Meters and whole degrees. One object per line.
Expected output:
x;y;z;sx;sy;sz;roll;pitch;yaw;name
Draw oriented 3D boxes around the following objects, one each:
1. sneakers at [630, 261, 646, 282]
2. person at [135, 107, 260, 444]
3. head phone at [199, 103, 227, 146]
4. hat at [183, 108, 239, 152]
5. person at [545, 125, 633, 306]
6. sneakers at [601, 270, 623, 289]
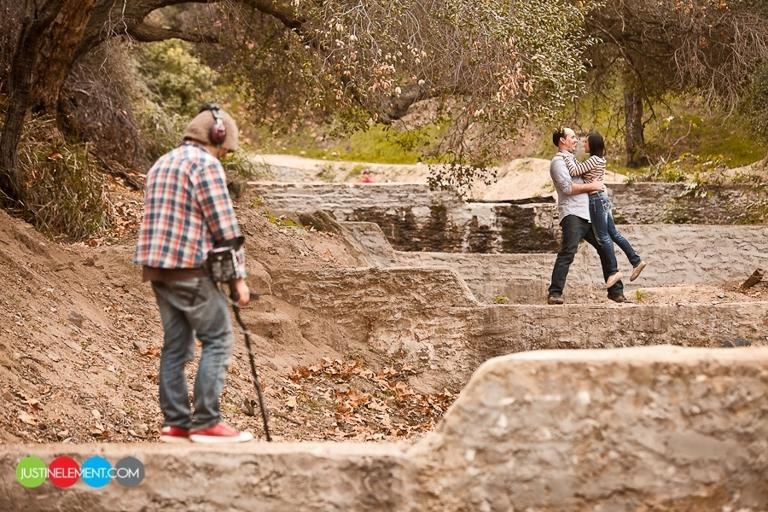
3.798;0.222;18.598;0.120;0.305;0.107;31;27;6;sneakers
-2.197;0.237;13.892;1.208;3.660;1.167;-6;14;-14;person
-2.020;-1.500;14.197;0.164;0.440;0.459;-9;3;-35;head phone
-2.032;-1.488;14.224;0.464;0.488;0.496;1;-3;-21;hat
2.744;-0.506;17.140;0.998;2.449;0.960;2;14;17;person
3.141;0.370;17.186;0.153;0.355;0.128;37;41;-3;sneakers
